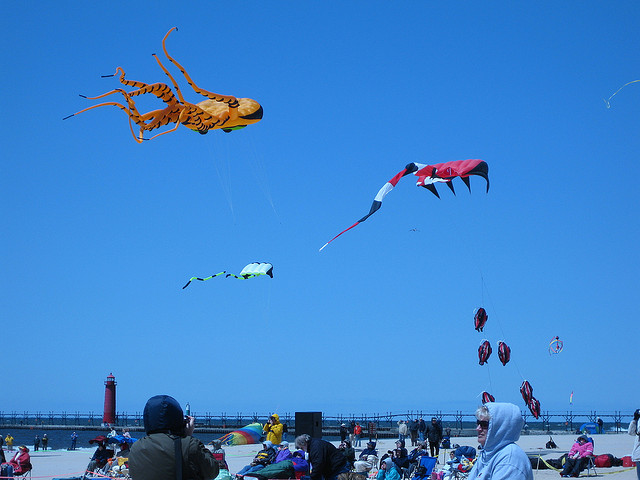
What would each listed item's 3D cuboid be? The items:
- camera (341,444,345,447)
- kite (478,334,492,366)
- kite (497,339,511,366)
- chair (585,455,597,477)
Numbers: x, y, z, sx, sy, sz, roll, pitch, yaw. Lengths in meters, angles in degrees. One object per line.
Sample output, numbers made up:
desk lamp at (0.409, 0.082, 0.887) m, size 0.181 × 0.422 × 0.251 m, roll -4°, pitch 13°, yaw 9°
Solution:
camera at (0.921, 7.906, 44.135) m, size 0.037 × 0.155 × 0.156 m, roll 9°, pitch -4°, yaw -38°
kite at (7.503, 5.073, 51.747) m, size 0.486 × 1.010 × 0.617 m, roll -3°, pitch -13°, yaw 7°
kite at (8.395, 5.127, 51.949) m, size 0.482 × 1.007 × 0.534 m, roll -2°, pitch -13°, yaw 5°
chair at (10.044, 8.325, 42.300) m, size 0.423 × 0.766 × 1.300 m, roll -4°, pitch -14°, yaw 13°
